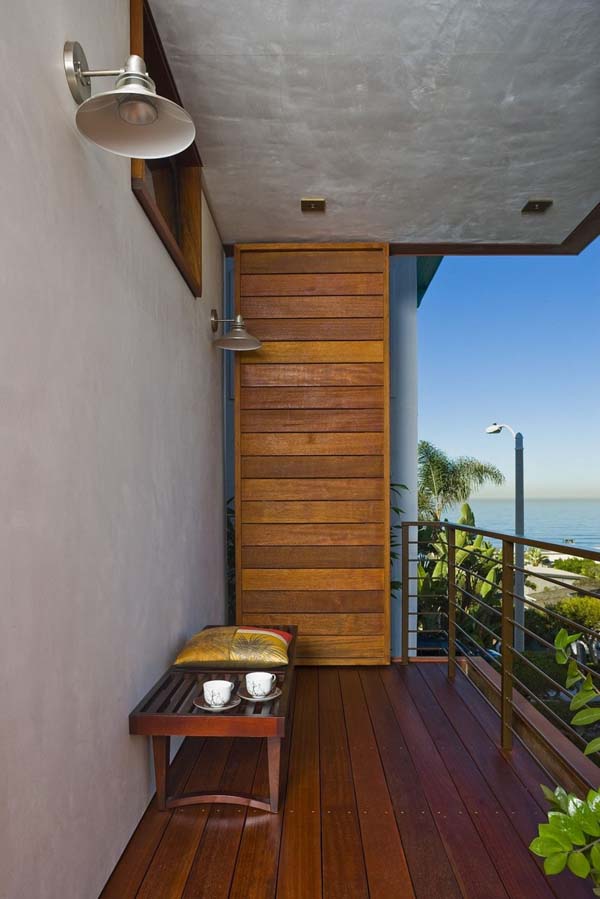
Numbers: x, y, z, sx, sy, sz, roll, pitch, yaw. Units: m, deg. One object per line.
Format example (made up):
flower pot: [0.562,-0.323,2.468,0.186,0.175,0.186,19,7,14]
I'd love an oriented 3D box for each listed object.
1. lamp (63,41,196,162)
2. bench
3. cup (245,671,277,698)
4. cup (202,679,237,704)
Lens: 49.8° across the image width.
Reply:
lamp: [-0.340,-0.719,1.262,0.200,0.233,0.209,-11,-11,-1]
bench: [-0.245,0.895,2.140,0.430,0.440,0.814,0,-3,0]
cup: [-0.114,0.733,2.013,0.078,0.057,0.063,-2,-3,2]
cup: [-0.251,0.722,1.914,0.094,0.064,0.087,0,-3,0]
